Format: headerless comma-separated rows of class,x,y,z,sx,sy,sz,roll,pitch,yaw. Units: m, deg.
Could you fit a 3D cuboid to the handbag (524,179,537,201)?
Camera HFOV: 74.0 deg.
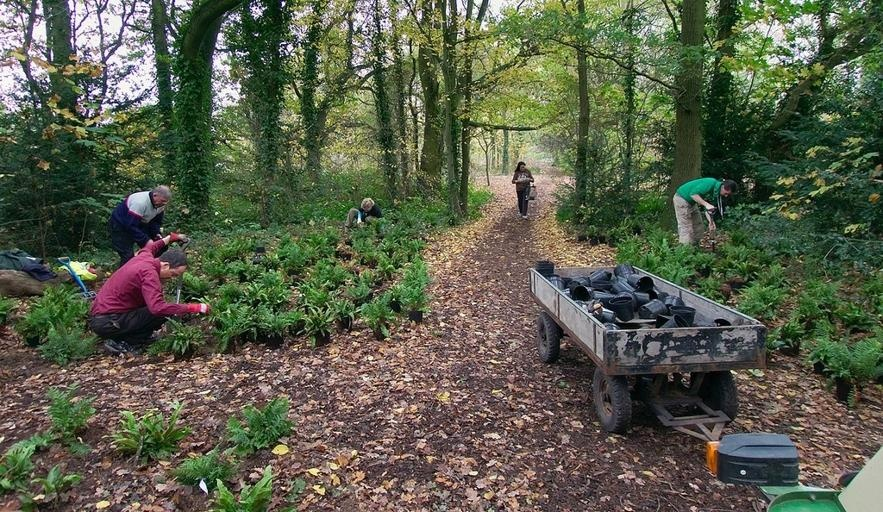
handbag,3.741,-2.727,24.304,0.264,0.732,1.095,2,13,16

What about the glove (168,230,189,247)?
glove,-7.613,-0.492,16.898,0.604,0.384,0.782,4,7,-33

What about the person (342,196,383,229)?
person,-2.724,-1.448,20.087,0.978,0.920,1.172,12,23,4

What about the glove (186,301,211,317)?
glove,-5.559,1.202,13.414,0.493,0.251,0.299,3,13,21
